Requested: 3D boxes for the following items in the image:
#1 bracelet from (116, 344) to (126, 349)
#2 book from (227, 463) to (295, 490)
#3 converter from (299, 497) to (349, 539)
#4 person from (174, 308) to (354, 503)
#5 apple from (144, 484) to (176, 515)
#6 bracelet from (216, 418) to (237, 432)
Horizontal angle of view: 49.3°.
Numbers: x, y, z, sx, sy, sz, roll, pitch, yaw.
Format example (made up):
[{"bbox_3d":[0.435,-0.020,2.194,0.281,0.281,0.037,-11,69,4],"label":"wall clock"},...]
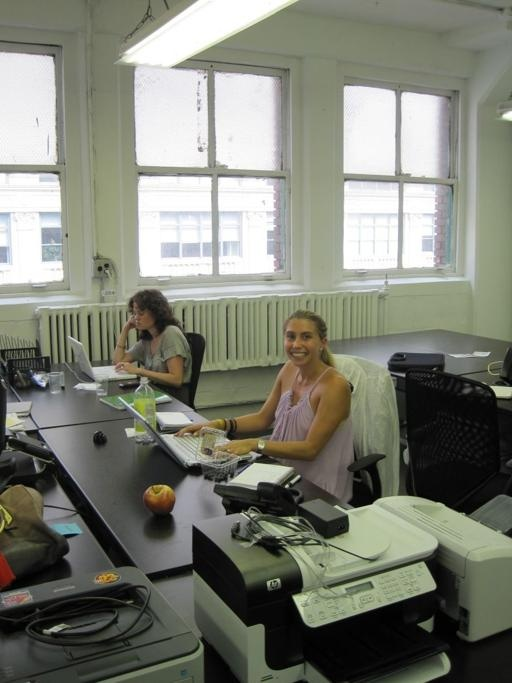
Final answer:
[{"bbox_3d":[-0.878,0.027,3.615,0.040,0.028,0.039,1,3,-4],"label":"bracelet"},{"bbox_3d":[0.012,0.352,1.459,0.106,0.026,0.162,6,10,15],"label":"book"},{"bbox_3d":[0.127,0.311,1.005,0.046,0.031,0.065,-10,15,-29],"label":"converter"},{"bbox_3d":[0.093,0.367,2.207,0.634,0.873,0.493,-6,12,-34],"label":"person"},{"bbox_3d":[-0.254,0.417,1.524,0.079,0.089,0.081,-17,1,-10],"label":"apple"},{"bbox_3d":[-0.118,0.343,2.299,0.067,0.032,0.050,1,3,-32],"label":"bracelet"}]
